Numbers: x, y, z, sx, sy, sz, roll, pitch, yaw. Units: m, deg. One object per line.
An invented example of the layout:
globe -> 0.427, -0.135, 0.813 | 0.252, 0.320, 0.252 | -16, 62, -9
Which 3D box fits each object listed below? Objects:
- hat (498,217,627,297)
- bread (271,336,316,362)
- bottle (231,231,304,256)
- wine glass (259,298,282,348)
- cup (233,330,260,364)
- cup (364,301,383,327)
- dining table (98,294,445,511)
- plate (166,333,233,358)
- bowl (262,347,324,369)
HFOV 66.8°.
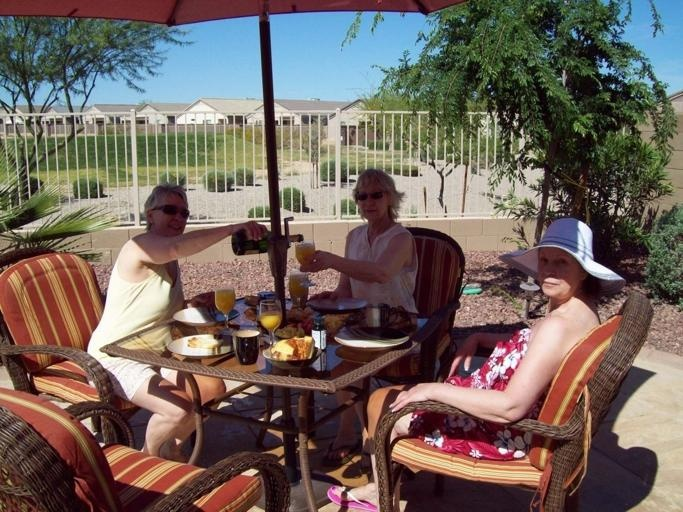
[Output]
hat -> 1.050, -0.036, 2.456 | 0.509, 0.246, 0.489 | 13, 1, -37
bread -> -0.229, 0.414, 2.396 | 0.127, 0.042, 0.127 | 4, 9, 40
bottle -> -0.394, -0.077, 2.785 | 0.383, 0.138, 0.244 | -3, 11, -15
wine glass -> -0.354, 0.360, 2.610 | 0.128, 0.280, 0.115 | -6, 11, -24
cup -> -0.442, 0.431, 2.493 | 0.128, 0.132, 0.190 | 1, 3, 10
cup -> 0.175, 0.340, 2.937 | 0.126, 0.130, 0.090 | 1, -10, 1
dining table -> -0.275, 0.524, 2.824 | 1.237, 0.626, 1.298 | 6, 11, 29
plate -> -0.699, 0.445, 2.564 | 0.316, 0.059, 0.261 | -2, 10, -11
bowl -> -0.230, 0.472, 2.446 | 0.267, 0.071, 0.178 | -2, 10, -10
